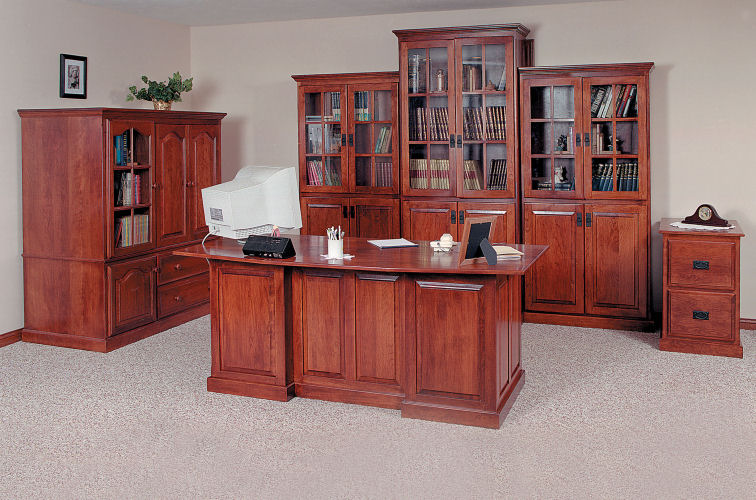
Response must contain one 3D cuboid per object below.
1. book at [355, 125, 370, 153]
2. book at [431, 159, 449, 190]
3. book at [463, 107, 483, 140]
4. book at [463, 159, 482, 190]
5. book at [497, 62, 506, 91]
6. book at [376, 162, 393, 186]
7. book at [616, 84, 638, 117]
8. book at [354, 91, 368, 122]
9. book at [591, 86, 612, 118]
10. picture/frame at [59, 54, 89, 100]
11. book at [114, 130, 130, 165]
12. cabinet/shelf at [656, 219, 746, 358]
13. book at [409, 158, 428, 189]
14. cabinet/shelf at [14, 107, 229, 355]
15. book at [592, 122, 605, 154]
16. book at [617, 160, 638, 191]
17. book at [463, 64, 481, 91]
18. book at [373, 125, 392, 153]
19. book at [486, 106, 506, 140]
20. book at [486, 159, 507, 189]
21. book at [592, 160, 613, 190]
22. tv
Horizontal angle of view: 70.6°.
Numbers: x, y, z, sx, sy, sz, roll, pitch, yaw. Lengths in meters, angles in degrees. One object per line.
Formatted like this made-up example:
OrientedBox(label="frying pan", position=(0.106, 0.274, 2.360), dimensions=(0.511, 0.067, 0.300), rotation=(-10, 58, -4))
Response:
OrientedBox(label="book", position=(-0.176, -1.260, 6.038), dimensions=(0.171, 0.298, 0.077), rotation=(0, 15, 3))
OrientedBox(label="book", position=(0.636, -0.819, 5.684), dimensions=(0.285, 0.278, 0.065), rotation=(-1, 4, 17))
OrientedBox(label="book", position=(1.008, -1.344, 5.676), dimensions=(0.177, 0.319, 0.076), rotation=(-1, 15, 2))
OrientedBox(label="book", position=(1.017, -0.815, 5.748), dimensions=(0.093, 0.299, 0.221), rotation=(-5, -2, 30))
OrientedBox(label="book", position=(1.291, -1.798, 5.567), dimensions=(0.073, 0.258, 0.060), rotation=(-3, 15, -6))
OrientedBox(label="book", position=(0.077, -0.874, 6.012), dimensions=(0.241, 0.322, 0.179), rotation=(4, 11, 16))
OrientedBox(label="book", position=(2.501, -1.495, 5.369), dimensions=(0.065, 0.270, 0.273), rotation=(-1, 7, -20))
OrientedBox(label="book", position=(-0.183, -1.621, 5.990), dimensions=(0.169, 0.311, 0.059), rotation=(1, 15, 6))
OrientedBox(label="book", position=(2.266, -1.508, 5.426), dimensions=(0.274, 0.270, 0.065), rotation=(1, 0, 38))
OrientedBox(label="picture/frame", position=(-3.224, -1.833, 5.653), dimensions=(0.068, 0.442, 0.331), rotation=(5, 16, 21))
OrientedBox(label="book", position=(-2.518, -1.003, 5.249), dimensions=(0.041, 0.322, 0.196), rotation=(5, 16, 23))
OrientedBox(label="cabinet/shelf", position=(2.968, 0.384, 4.925), dimensions=(0.733, 1.099, 0.288), rotation=(3, 15, 15))
OrientedBox(label="book", position=(0.448, -0.836, 5.865), dimensions=(0.361, 0.346, 0.265), rotation=(-1, 4, 7))
OrientedBox(label="cabinet/shelf", position=(-2.776, -0.318, 6.260), dimensions=(0.951, 2.360, 2.478), rotation=(4, 7, 10))
OrientedBox(label="book", position=(2.256, -1.144, 5.465), dimensions=(0.133, 0.291, 0.087), rotation=(2, 15, 10))
OrientedBox(label="book", position=(2.527, -0.761, 5.418), dimensions=(0.195, 0.303, 0.100), rotation=(5, 16, 23))
OrientedBox(label="book", position=(0.980, -1.825, 5.625), dimensions=(0.234, 0.309, 0.323), rotation=(1, 9, 10))
OrientedBox(label="book", position=(0.060, -1.252, 5.977), dimensions=(0.084, 0.265, 0.199), rotation=(-1, 6, -34))
OrientedBox(label="book", position=(1.245, -1.345, 5.631), dimensions=(0.208, 0.338, 0.074), rotation=(2, 15, 11))
OrientedBox(label="book", position=(1.337, -0.885, 5.908), dimensions=(0.260, 0.458, 0.371), rotation=(3, 11, 16))
OrientedBox(label="book", position=(2.306, -0.770, 5.478), dimensions=(0.181, 0.305, 0.089), rotation=(5, 16, 21))
OrientedBox(label="tv", position=(-0.982, -0.430, 4.397), dimensions=(0.688, 0.526, 0.591), rotation=(-14, 17, -43))
